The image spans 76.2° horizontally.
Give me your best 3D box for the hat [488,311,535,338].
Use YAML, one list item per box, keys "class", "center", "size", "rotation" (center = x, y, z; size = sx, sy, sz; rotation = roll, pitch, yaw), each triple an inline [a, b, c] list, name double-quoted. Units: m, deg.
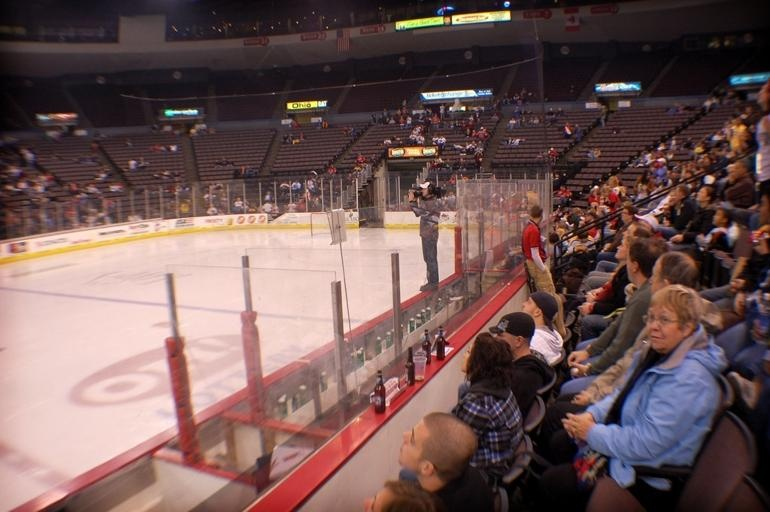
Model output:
- class: "hat"
  center: [1.246, 0.646, 4.705]
  size: [0.335, 0.157, 0.231]
  rotation: [5, 1, 14]
